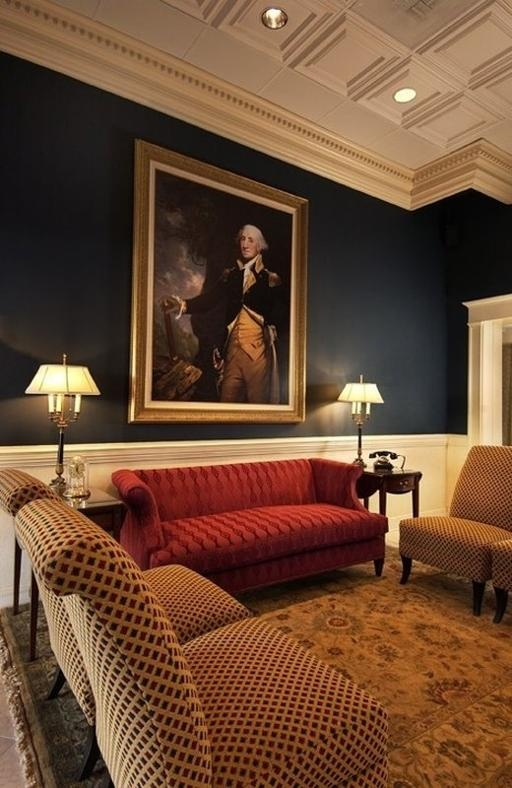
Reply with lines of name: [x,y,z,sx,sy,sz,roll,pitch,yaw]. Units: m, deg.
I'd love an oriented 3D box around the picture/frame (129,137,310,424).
picture/frame: [-0.299,-0.773,3.734,0.091,2.404,1.865,-6,-8,42]

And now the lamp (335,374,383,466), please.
lamp: [0.851,0.192,4.460,0.351,0.751,0.950,1,-2,13]

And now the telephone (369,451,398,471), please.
telephone: [1.032,0.548,4.413,0.175,0.159,0.095,2,6,24]

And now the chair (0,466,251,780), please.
chair: [-0.519,0.621,2.191,0.966,1.428,0.752,-2,8,-34]
